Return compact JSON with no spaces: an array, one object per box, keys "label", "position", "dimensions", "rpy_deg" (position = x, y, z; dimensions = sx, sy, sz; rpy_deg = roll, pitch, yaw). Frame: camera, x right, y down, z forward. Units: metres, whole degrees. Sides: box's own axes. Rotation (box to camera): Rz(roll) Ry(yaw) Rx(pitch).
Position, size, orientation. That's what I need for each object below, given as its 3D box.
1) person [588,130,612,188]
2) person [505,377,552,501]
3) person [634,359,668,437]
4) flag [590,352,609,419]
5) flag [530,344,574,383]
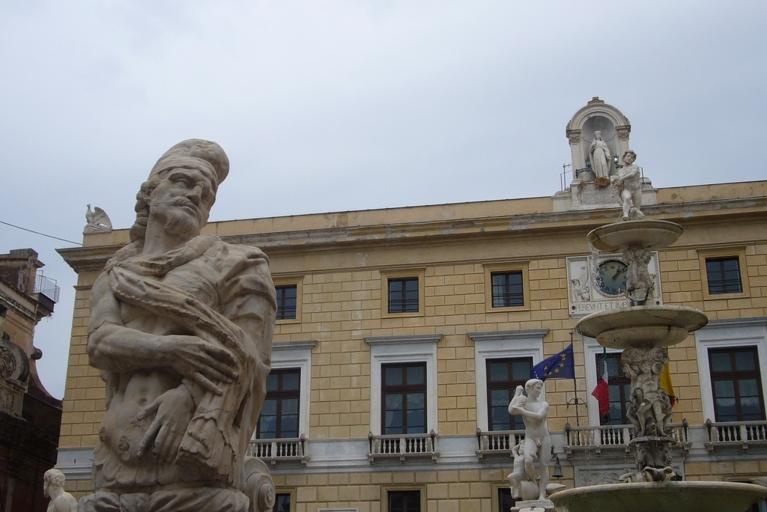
[{"label":"person","position":[7.479,-3.373,33.164],"dimensions":[0.751,2.150,0.742],"rpy_deg":[-2,-11,13]},{"label":"person","position":[3.374,4.280,22.317],"dimensions":[0.929,2.742,1.537],"rpy_deg":[-1,-11,7]},{"label":"person","position":[4.815,2.567,17.248],"dimensions":[0.638,1.272,0.374],"rpy_deg":[-1,-11,6]},{"label":"flag","position":[6.876,4.116,30.425],"dimensions":[0.512,2.161,0.954],"rpy_deg":[-2,-11,12]},{"label":"flag","position":[5.293,3.381,30.017],"dimensions":[1.227,1.098,0.145],"rpy_deg":[-1,-17,6]}]
